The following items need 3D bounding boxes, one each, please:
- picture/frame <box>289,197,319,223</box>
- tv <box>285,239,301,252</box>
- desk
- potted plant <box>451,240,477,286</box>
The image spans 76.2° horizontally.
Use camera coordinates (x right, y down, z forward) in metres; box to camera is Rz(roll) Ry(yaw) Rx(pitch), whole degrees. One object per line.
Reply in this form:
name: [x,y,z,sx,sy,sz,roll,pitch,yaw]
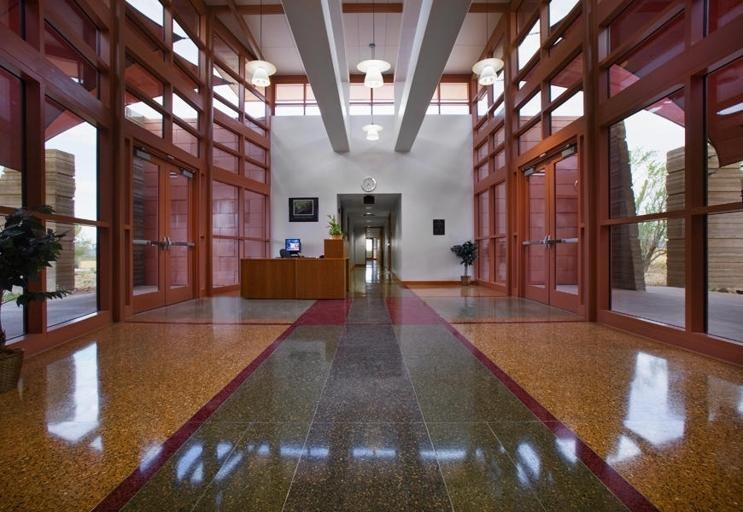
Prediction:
picture/frame: [-1.799,-1.182,12.329,0.645,0.548,0.048,0,2,2]
tv: [-1.989,-0.270,11.959,0.315,0.312,0.171,0,-3,-3]
desk: [-1.533,0.434,9.163,2.007,0.774,0.343,0,3,11]
potted plant: [2.360,0.154,12.106,0.657,1.104,0.650,0,3,6]
